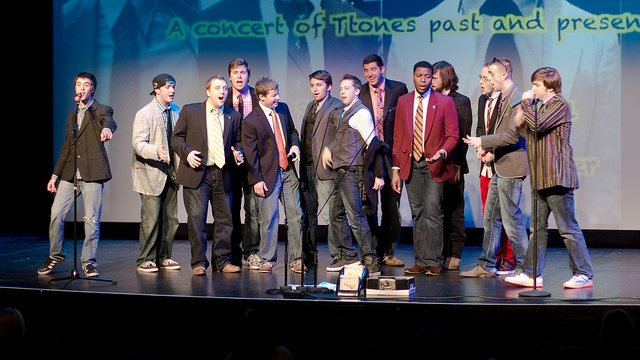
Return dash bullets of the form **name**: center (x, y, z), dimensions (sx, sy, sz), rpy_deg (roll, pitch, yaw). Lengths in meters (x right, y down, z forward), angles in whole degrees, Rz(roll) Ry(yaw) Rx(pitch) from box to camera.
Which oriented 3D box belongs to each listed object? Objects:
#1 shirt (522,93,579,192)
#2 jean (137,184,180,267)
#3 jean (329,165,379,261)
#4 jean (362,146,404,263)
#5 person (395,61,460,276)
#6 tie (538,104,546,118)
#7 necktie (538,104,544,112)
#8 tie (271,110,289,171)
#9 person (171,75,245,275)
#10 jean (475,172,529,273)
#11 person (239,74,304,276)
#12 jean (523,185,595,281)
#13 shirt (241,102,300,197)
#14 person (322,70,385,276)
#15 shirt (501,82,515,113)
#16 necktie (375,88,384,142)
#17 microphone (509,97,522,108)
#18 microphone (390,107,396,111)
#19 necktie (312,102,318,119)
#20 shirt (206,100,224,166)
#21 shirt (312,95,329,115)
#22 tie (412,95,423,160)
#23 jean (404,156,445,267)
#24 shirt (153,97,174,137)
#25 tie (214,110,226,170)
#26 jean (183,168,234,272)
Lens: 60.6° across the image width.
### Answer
- **shirt**: center (2.846, -0.460, 6.879), dimensions (0.763, 1.160, 0.815), rpy_deg (-1, 0, 22)
- **jean**: center (-2.300, 0.639, 7.805), dimensions (0.528, 1.159, 0.374), rpy_deg (2, -6, -19)
- **jean**: center (0.459, 0.461, 7.574), dimensions (0.665, 1.316, 0.396), rpy_deg (-1, -6, 9)
- **jean**: center (1.119, 0.338, 8.395), dimensions (0.633, 1.857, 0.702), rpy_deg (-2, 15, 28)
- **person**: center (1.490, -0.142, 7.451), dimensions (0.765, 2.878, 0.569), rpy_deg (-4, -8, 39)
- **tie**: center (2.695, -0.844, 6.643), dimensions (0.084, 0.206, 0.230), rpy_deg (-2, -6, 23)
- **necktie**: center (2.721, -0.899, 6.731), dimensions (0.024, 0.138, 0.031), rpy_deg (24, -37, 20)
- **tie**: center (-0.574, -0.552, 7.717), dimensions (0.213, 0.852, 0.044), rpy_deg (-17, 8, -18)
- **person**: center (-1.553, -0.065, 7.615), dimensions (0.967, 2.726, 0.450), rpy_deg (2, -6, -11)
- **jean**: center (2.453, 0.572, 7.219), dimensions (0.499, 1.320, 0.706), rpy_deg (2, -6, -13)
- **person**: center (-0.674, -0.054, 7.710), dimensions (0.884, 2.718, 0.525), rpy_deg (1, -6, -5)
- **jean**: center (2.989, 0.646, 6.689), dimensions (0.636, 1.141, 0.383), rpy_deg (-1, -6, 13)
- **shirt**: center (-0.666, -0.504, 7.893), dimensions (0.992, 1.256, 0.664), rpy_deg (-25, 34, -36)
- **person**: center (0.467, -0.067, 7.563), dimensions (0.839, 2.724, 0.576), rpy_deg (-1, -6, 14)
- **shirt**: center (2.485, -1.139, 7.220), dimensions (0.070, 0.244, 0.203), rpy_deg (21, -1, -12)
- **necktie**: center (0.860, -0.975, 7.981), dimensions (0.126, 0.790, 0.276), rpy_deg (-1, -6, 12)
- **microphone**: center (2.498, -0.989, 7.059), dimensions (0.206, 0.059, 0.050), rpy_deg (-33, -14, 6)
- **microphone**: center (1.076, -1.050, 8.047), dimensions (0.071, 0.065, 0.071), rpy_deg (2, -6, -13)
- **necktie**: center (-0.067, -1.018, 7.771), dimensions (0.061, 0.218, 0.050), rpy_deg (-1, -39, 24)
- **shirt**: center (-1.414, -0.662, 7.627), dimensions (0.266, 0.979, 0.236), rpy_deg (-8, -38, -8)
- **shirt**: center (-0.003, -1.071, 7.711), dimensions (0.116, 0.245, 0.268), rpy_deg (6, -8, -43)
- **tie**: center (1.325, -0.719, 7.421), dimensions (0.145, 0.857, 0.088), rpy_deg (-1, -6, 13)
- **jean**: center (1.434, 0.445, 7.496), dimensions (0.500, 1.491, 0.357), rpy_deg (-1, -6, 9)
- **shirt**: center (-2.234, -0.960, 7.787), dimensions (0.297, 0.380, 0.124), rpy_deg (3, 28, 29)
- **tie**: center (-1.409, -0.586, 7.606), dimensions (0.165, 0.781, 0.063), rpy_deg (-4, 6, 7)
- **jean**: center (-1.568, 0.571, 7.681), dimensions (0.684, 1.428, 0.332), rpy_deg (1, -6, -10)
